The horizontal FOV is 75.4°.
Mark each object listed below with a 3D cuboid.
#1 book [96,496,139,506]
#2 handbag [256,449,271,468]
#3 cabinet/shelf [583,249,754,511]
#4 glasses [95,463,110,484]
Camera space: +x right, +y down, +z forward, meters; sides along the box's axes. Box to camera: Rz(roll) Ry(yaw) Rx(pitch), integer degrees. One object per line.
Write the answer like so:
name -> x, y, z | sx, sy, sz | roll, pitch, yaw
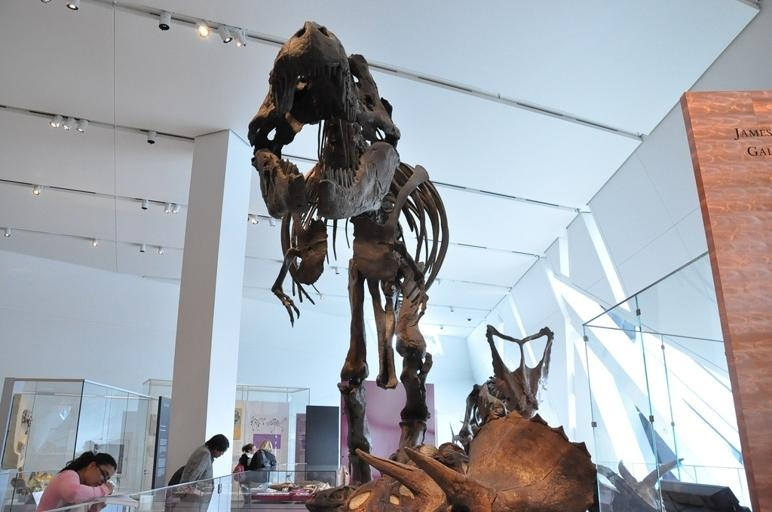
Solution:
book -> -1.590, 1.465, 2.985 | 0.054, 0.070, 0.240 | -10, -22, 21
handbag -> -1.714, 2.805, 6.992 | 0.160, 0.304, 0.225 | -16, -16, 28
cabinet/shelf -> 1.959, 0.928, 3.634 | 0.371, 1.595, 1.202 | 10, -23, -28
glasses -> -2.385, 1.831, 4.211 | 0.048, 0.158, 0.153 | -20, -30, -6
